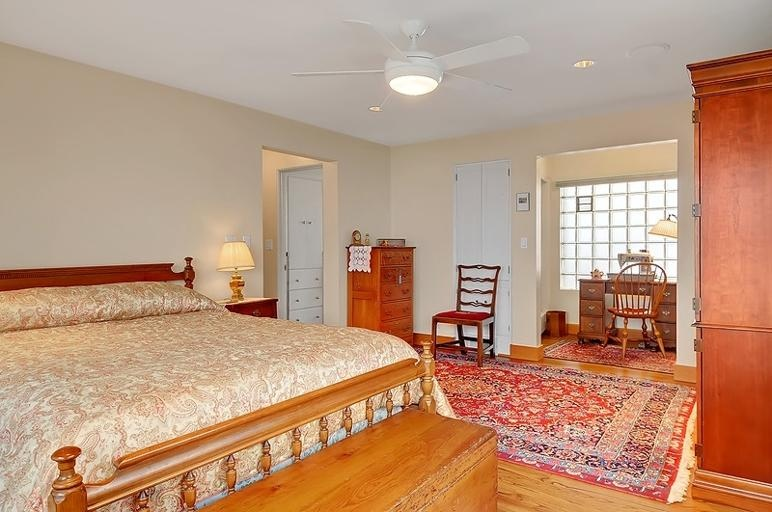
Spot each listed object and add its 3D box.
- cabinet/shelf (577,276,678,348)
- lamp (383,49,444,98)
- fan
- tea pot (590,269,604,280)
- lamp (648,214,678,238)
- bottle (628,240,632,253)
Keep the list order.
[{"bbox_3d":[3.145,0.718,6.012,0.982,0.659,0.363,-1,-4,31],"label":"cabinet/shelf"},{"bbox_3d":[0.200,-1.332,3.344,0.410,0.254,0.282,-2,-1,-3],"label":"lamp"},{"bbox_3d":[0.384,-1.354,3.226,0.813,0.235,0.909,0,1,35],"label":"fan"},{"bbox_3d":[3.010,0.255,6.603,0.077,0.122,0.144,3,-4,-35],"label":"tea pot"},{"bbox_3d":[3.640,-0.400,6.059,0.264,0.326,0.639,-2,-2,34],"label":"lamp"},{"bbox_3d":[3.476,-0.146,6.619,0.058,0.183,0.037,-2,-1,27],"label":"bottle"}]
